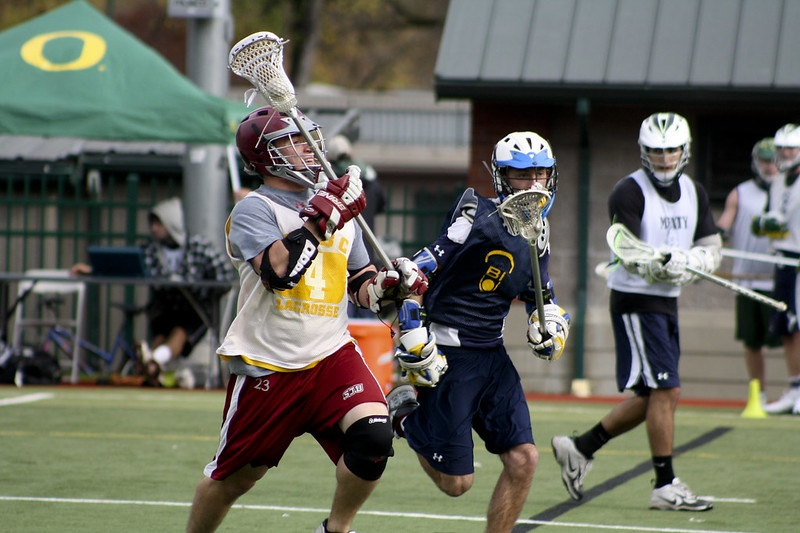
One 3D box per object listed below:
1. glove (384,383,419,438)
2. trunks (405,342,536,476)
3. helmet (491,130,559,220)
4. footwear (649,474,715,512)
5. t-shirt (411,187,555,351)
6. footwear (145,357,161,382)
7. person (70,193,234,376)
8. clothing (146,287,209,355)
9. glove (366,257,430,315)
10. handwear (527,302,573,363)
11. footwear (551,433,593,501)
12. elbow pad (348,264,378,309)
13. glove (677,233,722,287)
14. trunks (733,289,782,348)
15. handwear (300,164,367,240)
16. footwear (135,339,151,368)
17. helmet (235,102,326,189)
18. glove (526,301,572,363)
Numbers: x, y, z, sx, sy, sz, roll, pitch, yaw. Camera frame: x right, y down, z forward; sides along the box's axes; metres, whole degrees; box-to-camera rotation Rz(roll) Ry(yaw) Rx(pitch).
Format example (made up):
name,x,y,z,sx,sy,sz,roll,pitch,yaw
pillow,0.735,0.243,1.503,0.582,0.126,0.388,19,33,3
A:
name,x,y,z,sx,sy,sz,roll,pitch,yaw
glove,-0.001,1.031,9.701,0.153,0.484,0.213,12,24,-25
trunks,0.484,1.076,9.699,1.089,1.115,0.599,-5,-2,-30
helmet,0.840,-0.732,9.877,0.449,0.609,0.587,-1,0,-11
footwear,2.253,1.863,10.678,0.542,0.296,0.206,1,-3,9
t-shirt,0.679,0.015,9.860,1.221,1.239,0.602,11,8,-22
footwear,-2.019,0.875,10.855,0.068,0.215,0.145,-6,-14,24
person,-2.647,0.188,14.456,1.483,1.944,1.074,-9,14,-24
clothing,-2.463,0.698,14.747,0.805,0.161,0.835,28,41,16
glove,-0.009,0.139,9.279,0.415,0.220,0.315,-25,-37,38
handwear,1.087,0.517,9.809,0.287,0.422,0.185,5,-13,-3
footwear,1.403,1.639,10.854,0.292,0.643,0.207,-19,-13,15
elbow pad,-0.266,0.134,9.436,0.259,0.258,0.119,-30,-17,-52
glove,2.472,-0.075,10.768,0.360,0.162,0.381,16,18,20
trunks,3.750,0.549,13.821,0.532,0.748,0.411,-5,-10,-5
handwear,-0.432,-0.388,9.036,0.295,0.542,0.244,26,-27,17
footwear,-2.100,0.731,10.848,0.082,0.127,0.204,-13,28,-2
helmet,-0.807,-0.845,9.295,0.537,0.546,0.540,-1,4,19
glove,1.095,0.504,9.905,0.287,0.422,0.186,4,-13,-1
